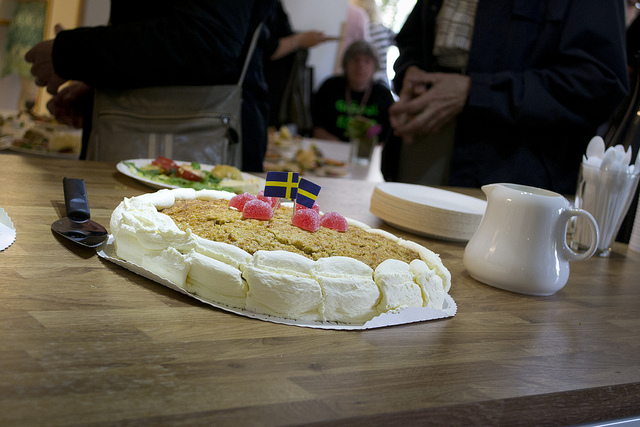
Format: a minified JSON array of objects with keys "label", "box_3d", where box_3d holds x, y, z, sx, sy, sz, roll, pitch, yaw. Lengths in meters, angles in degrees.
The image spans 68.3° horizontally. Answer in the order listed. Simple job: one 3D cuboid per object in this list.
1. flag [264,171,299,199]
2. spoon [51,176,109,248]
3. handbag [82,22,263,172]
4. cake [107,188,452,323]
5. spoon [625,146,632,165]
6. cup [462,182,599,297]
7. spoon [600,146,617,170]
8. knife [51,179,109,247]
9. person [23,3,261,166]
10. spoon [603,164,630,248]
[{"label":"flag","box_3d":[-0.080,-0.072,1.154,0.099,0.076,0.003,4,-28,-4]},{"label":"spoon","box_3d":[-0.639,-0.005,1.242,0.127,0.043,0.348,1,32,-34]},{"label":"handbag","box_3d":[-0.648,-0.571,2.565,0.767,1.164,0.481,3,-15,12]},{"label":"cake","box_3d":[-0.103,0.089,1.048,0.491,0.110,0.435,12,5,3]},{"label":"spoon","box_3d":[0.981,-0.186,1.497,0.016,0.056,0.119,17,14,30]},{"label":"cup","box_3d":[0.583,0.079,1.284,0.257,0.252,0.357,-6,17,-44]},{"label":"spoon","box_3d":[0.892,-0.170,1.458,0.023,0.092,0.013,16,0,31]},{"label":"knife","box_3d":[-0.639,-0.008,1.237,0.126,0.048,0.355,6,26,-33]},{"label":"person","box_3d":[-1.025,-0.687,2.621,0.923,1.098,0.946,0,23,-26]},{"label":"spoon","box_3d":[0.957,-0.018,1.534,0.039,0.291,0.148,17,15,31]}]
